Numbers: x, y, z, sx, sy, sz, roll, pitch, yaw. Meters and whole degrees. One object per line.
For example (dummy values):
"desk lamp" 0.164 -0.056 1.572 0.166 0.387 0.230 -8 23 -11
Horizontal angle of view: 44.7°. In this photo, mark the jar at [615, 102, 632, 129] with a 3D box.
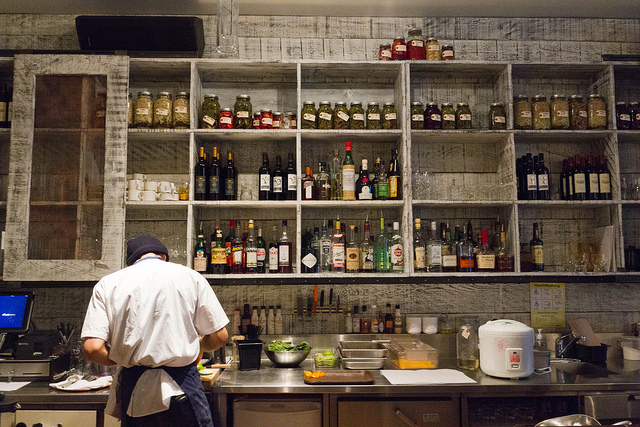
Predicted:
"jar" 2.575 -0.829 6.590 0.130 0.232 0.056 -2 -5 10

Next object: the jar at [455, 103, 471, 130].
"jar" 1.210 -0.827 6.632 0.157 0.229 0.141 -3 8 -20

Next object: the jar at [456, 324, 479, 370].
"jar" 1.209 1.093 6.365 0.172 0.352 0.114 -2 -5 9

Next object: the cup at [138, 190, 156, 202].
"cup" -1.427 -0.146 6.450 0.126 0.082 0.082 0 -7 -10

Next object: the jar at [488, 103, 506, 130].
"jar" 1.507 -0.818 6.615 0.145 0.238 0.169 -2 -5 12

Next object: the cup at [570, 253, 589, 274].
"cup" 2.210 0.423 6.645 0.159 0.173 0.156 0 -5 0

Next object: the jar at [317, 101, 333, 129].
"jar" 0.043 -0.822 6.528 0.130 0.239 0.076 -1 -5 0

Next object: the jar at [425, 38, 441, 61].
"jar" 0.963 -1.397 6.631 0.133 0.204 0.076 -2 -5 6

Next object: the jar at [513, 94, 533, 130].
"jar" 1.715 -0.849 6.569 0.160 0.294 0.074 -2 -5 10

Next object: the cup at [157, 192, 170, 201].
"cup" -1.318 -0.139 6.478 0.135 0.075 0.062 -6 -7 43

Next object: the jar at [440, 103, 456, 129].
"jar" 1.088 -0.825 6.616 0.145 0.223 0.144 -2 4 0

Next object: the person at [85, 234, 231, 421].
"person" -1.188 0.836 5.661 1.001 1.350 0.291 0 -5 -18

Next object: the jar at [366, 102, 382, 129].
"jar" 0.445 -0.825 6.583 0.150 0.241 0.119 -3 -5 21

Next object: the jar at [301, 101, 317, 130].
"jar" -0.091 -0.820 6.533 0.135 0.236 0.074 -1 -5 -1

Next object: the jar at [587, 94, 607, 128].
"jar" 2.400 -0.869 6.607 0.187 0.270 0.185 -5 6 1

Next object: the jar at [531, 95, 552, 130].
"jar" 1.874 -0.858 6.618 0.190 0.284 0.190 -3 3 0

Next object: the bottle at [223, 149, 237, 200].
"bottle" -0.765 -0.312 6.546 0.110 0.397 0.092 -2 -5 10

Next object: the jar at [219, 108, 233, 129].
"jar" -0.784 -0.790 6.508 0.115 0.182 0.088 -1 -5 -7

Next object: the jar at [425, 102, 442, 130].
"jar" 0.958 -0.818 6.622 0.143 0.237 0.149 -1 -7 0

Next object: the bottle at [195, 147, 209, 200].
"bottle" -0.997 -0.331 6.483 0.114 0.446 0.098 -5 -6 35

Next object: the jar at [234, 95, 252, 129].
"jar" -0.646 -0.848 6.545 0.149 0.301 0.139 -1 -5 0

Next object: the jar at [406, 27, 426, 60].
"jar" 0.821 -1.440 6.706 0.178 0.286 0.176 -1 4 0

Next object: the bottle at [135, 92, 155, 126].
"bottle" -1.467 -0.872 6.512 0.159 0.282 0.076 0 -5 -13

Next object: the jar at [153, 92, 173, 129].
"jar" -1.327 -0.867 6.569 0.181 0.302 0.176 2 -4 0

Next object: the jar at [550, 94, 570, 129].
"jar" 2.029 -0.859 6.580 0.171 0.299 0.083 -2 -5 8

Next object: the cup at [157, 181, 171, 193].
"cup" -1.317 -0.222 6.535 0.125 0.085 0.078 -3 -5 4

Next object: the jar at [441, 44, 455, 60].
"jar" 1.080 -1.386 6.693 0.129 0.139 0.127 0 -7 0

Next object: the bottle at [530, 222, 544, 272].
"bottle" 1.833 0.289 6.585 0.106 0.415 0.247 -2 -5 15

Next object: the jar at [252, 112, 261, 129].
"jar" -0.535 -0.781 6.571 0.069 0.163 0.152 -1 -5 -4

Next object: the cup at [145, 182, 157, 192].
"cup" -1.407 -0.219 6.465 0.071 0.051 0.071 2 -5 0

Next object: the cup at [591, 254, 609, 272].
"cup" 2.356 0.413 6.537 0.138 0.149 0.134 3 -7 0

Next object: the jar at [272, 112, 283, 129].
"jar" -0.362 -0.781 6.576 0.068 0.140 0.098 -2 -5 7

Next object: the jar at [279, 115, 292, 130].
"jar" -0.291 -0.766 6.573 0.123 0.165 0.121 2 -6 0

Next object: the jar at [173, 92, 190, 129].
"jar" -1.161 -0.858 6.511 0.135 0.319 0.087 0 -5 -11

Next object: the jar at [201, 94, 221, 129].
"jar" -0.923 -0.856 6.553 0.153 0.320 0.157 -1 -5 0

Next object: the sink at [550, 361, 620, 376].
"sink" 2.139 1.260 6.310 0.485 0.095 0.244 -1 -5 4

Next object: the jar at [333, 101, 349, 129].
"jar" 0.175 -0.820 6.529 0.132 0.233 0.063 -1 -5 1

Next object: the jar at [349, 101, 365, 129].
"jar" 0.309 -0.820 6.563 0.124 0.234 0.103 -1 -5 2

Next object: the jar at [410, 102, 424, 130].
"jar" 0.825 -0.818 6.556 0.121 0.234 0.066 -1 -5 -4

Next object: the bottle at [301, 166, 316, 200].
"bottle" -0.100 -0.245 6.513 0.126 0.264 0.081 -2 -5 6

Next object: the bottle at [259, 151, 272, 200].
"bottle" -0.458 -0.310 6.556 0.108 0.399 0.177 -1 -5 -4

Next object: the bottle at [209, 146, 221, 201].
"bottle" -0.887 -0.331 6.569 0.096 0.475 0.251 0 -5 -8

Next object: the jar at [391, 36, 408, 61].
"jar" 0.678 -1.411 6.644 0.141 0.211 0.061 -2 -5 5

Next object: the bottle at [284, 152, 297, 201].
"bottle" -0.247 -0.309 6.513 0.100 0.389 0.076 -1 -5 -2
